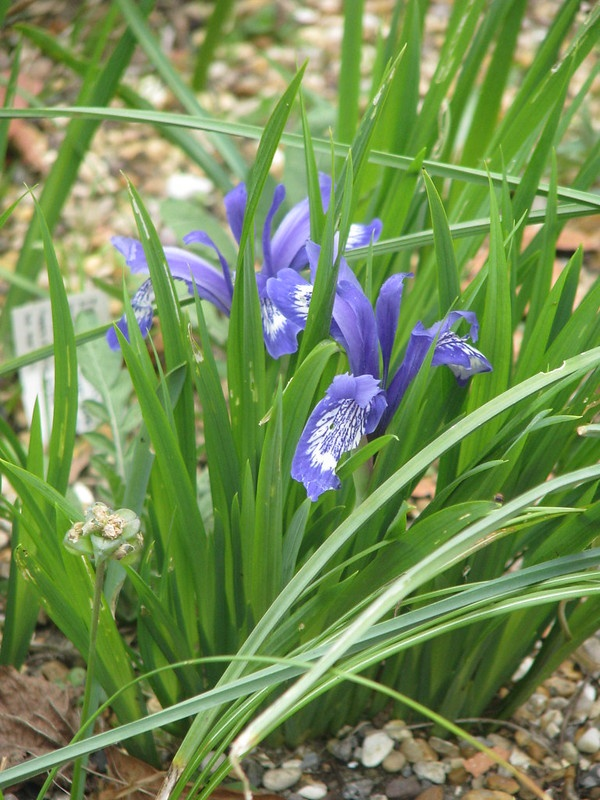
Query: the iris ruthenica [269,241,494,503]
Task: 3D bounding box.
[{"bbox_3d":[0.064,-0.041,0.911,0.202,0.308,0.280,-9,39,-31],"label":"iris ruthenica"}]
